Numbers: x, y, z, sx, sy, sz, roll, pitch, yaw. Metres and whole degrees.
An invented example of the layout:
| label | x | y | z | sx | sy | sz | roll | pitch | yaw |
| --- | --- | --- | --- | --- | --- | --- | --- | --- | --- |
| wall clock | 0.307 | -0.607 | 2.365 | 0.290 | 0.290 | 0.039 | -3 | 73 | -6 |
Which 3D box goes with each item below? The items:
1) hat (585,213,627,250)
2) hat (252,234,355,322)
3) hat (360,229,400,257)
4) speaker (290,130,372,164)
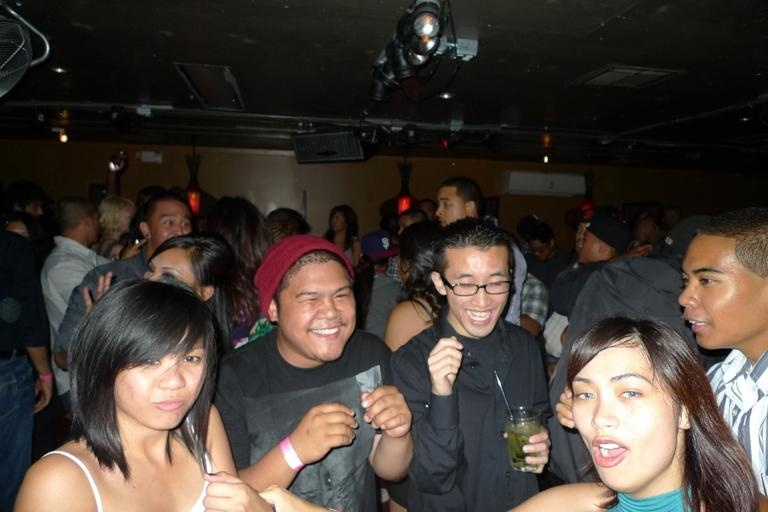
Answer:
| label | x | y | z | sx | sy | sz | roll | pitch | yaw |
| --- | --- | --- | --- | --- | --- | --- | --- | --- | --- |
| hat | 1.866 | -0.203 | 4.442 | 0.330 | 0.193 | 0.255 | 26 | 13 | -7 |
| hat | -0.471 | 0.015 | 2.618 | 0.407 | 0.456 | 0.212 | -9 | 41 | -23 |
| hat | -0.025 | -0.117 | 4.727 | 0.309 | 0.163 | 0.214 | -8 | 14 | -43 |
| speaker | -0.706 | -1.394 | 6.727 | 0.965 | 0.342 | 0.588 | 3 | 4 | 9 |
